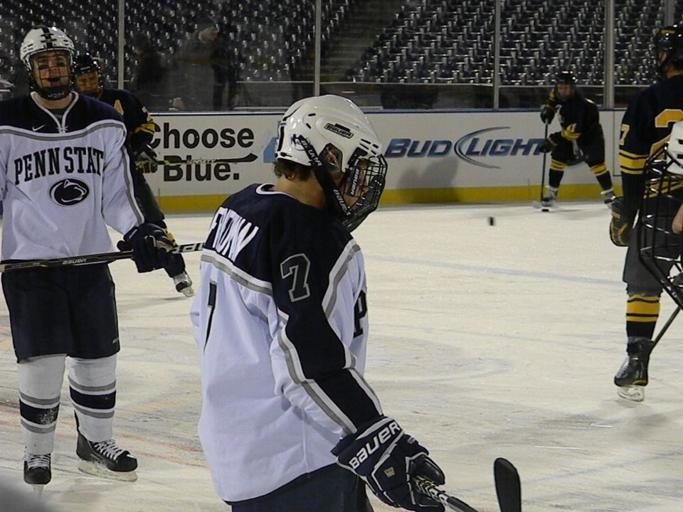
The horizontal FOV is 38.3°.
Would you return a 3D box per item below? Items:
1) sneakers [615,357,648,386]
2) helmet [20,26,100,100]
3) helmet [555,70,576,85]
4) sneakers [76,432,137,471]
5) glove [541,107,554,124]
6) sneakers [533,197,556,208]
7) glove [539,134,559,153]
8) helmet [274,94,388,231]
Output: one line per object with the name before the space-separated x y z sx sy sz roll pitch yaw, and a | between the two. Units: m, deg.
sneakers | 1.584 0.628 5.365 0.171 0.151 0.180 5 14 18
helmet | -1.308 -0.868 4.425 0.228 0.314 0.221 -5 15 -18
helmet | 2.461 -1.938 10.755 0.170 0.131 0.154 0 14 -1
sneakers | -1.108 0.936 4.685 0.390 0.136 0.125 6 8 29
glove | 2.356 -1.599 11.231 0.159 0.194 0.095 13 7 25
sneakers | 2.386 -0.629 11.669 0.110 0.078 0.208 -1 -2 -45
glove | 2.353 -1.270 11.124 0.169 0.205 0.088 20 6 26
helmet | -0.046 -0.313 3.308 0.412 0.395 0.363 4 -1 -1
